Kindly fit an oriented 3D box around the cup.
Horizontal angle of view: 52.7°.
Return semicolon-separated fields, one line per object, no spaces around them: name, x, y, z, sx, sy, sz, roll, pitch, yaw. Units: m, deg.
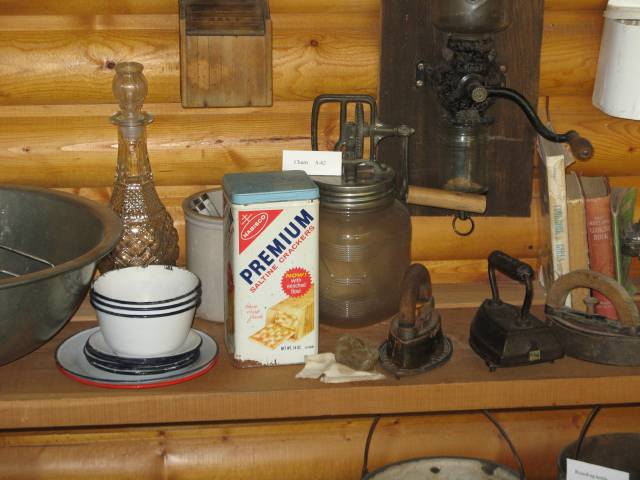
cup;-0.330;0.120;1.220;0.184;0.104;0.177;4;22;-2

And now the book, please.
book;0.604;-0.038;1.462;0.151;0.348;0.371;-3;23;7

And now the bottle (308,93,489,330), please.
bottle;0.145;-0.077;1.408;0.351;0.472;0.379;-3;16;1
